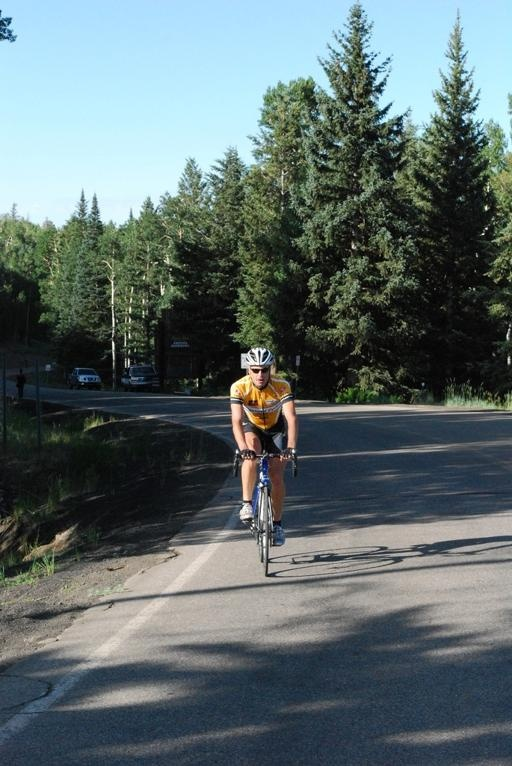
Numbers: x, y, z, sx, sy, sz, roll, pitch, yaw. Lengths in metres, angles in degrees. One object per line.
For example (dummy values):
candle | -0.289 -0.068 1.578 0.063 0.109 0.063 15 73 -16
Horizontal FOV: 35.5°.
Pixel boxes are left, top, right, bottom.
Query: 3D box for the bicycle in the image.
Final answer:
bicycle | 0.093 1.110 7.111 0.545 1.059 0.862 1 1 9

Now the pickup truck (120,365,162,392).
pickup truck | -8.441 -0.298 58.116 1.492 1.289 3.136 0 -4 -17

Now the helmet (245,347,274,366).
helmet | 0.028 -0.218 6.860 0.225 0.171 0.525 1 0 1
